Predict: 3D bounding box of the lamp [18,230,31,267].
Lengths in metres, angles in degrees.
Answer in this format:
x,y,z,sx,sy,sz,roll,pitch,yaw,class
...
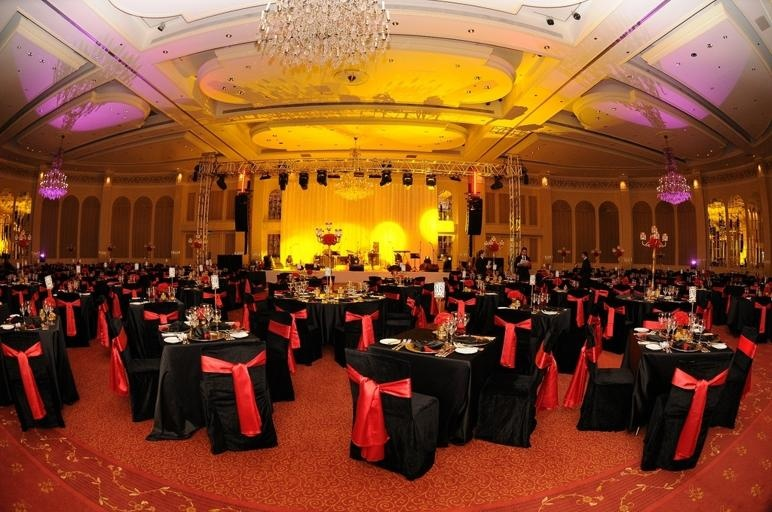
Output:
x,y,z,sx,sy,sz,roll,pitch,yaw,class
-12.443,-0.155,15.867,0.245,1.251,0.376,24,17,23,lamp

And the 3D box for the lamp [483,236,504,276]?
x,y,z,sx,sy,sz,roll,pitch,yaw,class
4.176,0.072,17.703,0.801,1.753,0.741,-14,14,-43,lamp
